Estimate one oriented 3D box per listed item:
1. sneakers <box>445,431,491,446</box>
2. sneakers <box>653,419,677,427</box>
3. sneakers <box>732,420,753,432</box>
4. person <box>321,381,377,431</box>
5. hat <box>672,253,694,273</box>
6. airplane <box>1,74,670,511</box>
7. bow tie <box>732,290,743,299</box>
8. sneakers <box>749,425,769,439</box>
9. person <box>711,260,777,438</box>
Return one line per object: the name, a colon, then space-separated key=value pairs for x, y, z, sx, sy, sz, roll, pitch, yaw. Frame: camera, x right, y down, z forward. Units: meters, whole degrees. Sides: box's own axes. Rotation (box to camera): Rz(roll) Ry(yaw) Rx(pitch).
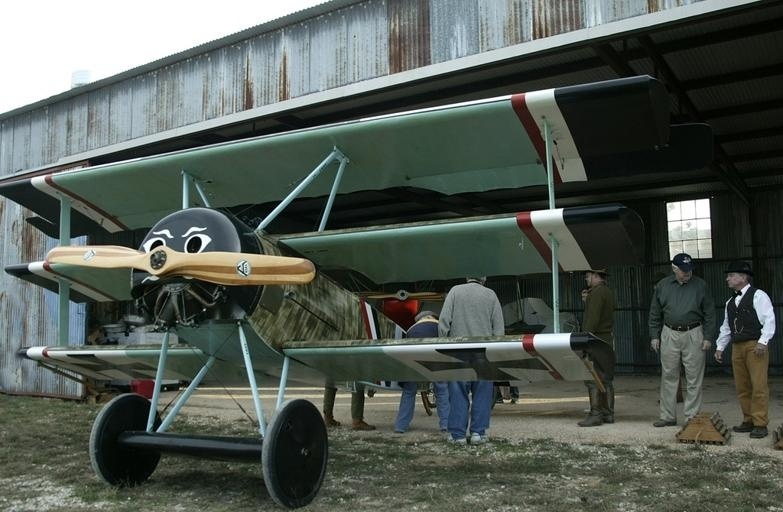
sneakers: x=1.104 y=2.624 z=13.471 sx=0.519 sy=0.218 sz=0.218 roll=-1 pitch=-6 yaw=-8
sneakers: x=4.161 y=2.513 z=14.033 sx=0.371 sy=0.151 sz=0.127 roll=6 pitch=-10 yaw=-8
sneakers: x=5.140 y=2.494 z=13.559 sx=0.303 sy=0.133 sz=0.131 roll=4 pitch=-10 yaw=3
person: x=-0.689 y=2.409 z=14.838 sx=1.025 sy=0.955 sz=0.469 roll=1 pitch=1 yaw=19
hat: x=4.421 y=0.109 z=14.045 sx=0.225 sy=0.179 sz=0.333 roll=-11 pitch=10 yaw=-4
airplane: x=0.398 y=0.064 z=13.610 sx=7.611 sy=3.505 sz=6.102 roll=-6 pitch=-23 yaw=29
bow tie: x=5.164 y=0.575 z=13.756 sx=0.105 sy=0.028 sz=0.098 roll=-33 pitch=15 yaw=-3
sneakers: x=5.296 y=2.516 z=13.311 sx=0.293 sy=0.167 sz=0.295 roll=-3 pitch=-7 yaw=11
person: x=5.236 y=1.345 z=13.538 sx=0.675 sy=2.551 sz=0.414 roll=-6 pitch=-9 yaw=35
